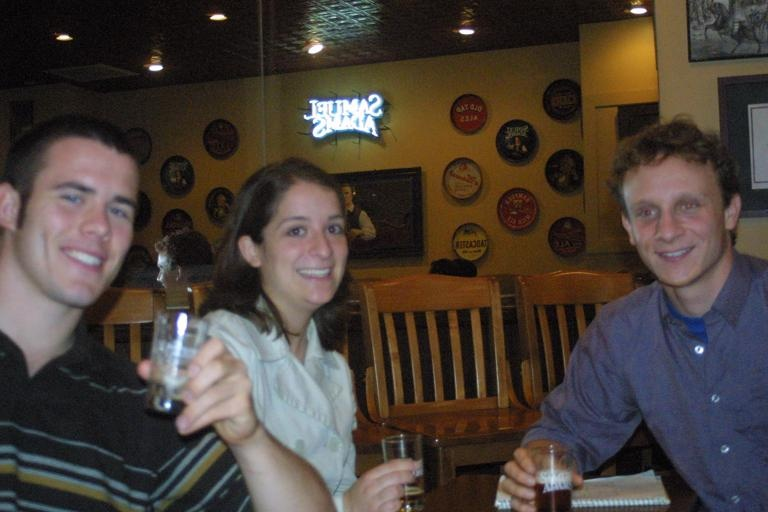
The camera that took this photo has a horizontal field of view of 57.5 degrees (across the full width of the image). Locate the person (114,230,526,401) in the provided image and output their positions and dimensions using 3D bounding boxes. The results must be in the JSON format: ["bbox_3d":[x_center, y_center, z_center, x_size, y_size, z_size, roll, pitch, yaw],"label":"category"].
[{"bbox_3d":[-0.249,0.280,3.247,1.303,0.710,0.446,1,-10,-6],"label":"person"}]

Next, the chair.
[{"bbox_3d":[-0.028,0.465,2.659,1.287,0.696,0.429,0,-7,-11],"label":"chair"}]

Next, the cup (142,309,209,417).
[{"bbox_3d":[-0.508,0.262,1.721,0.152,0.258,0.071,-3,3,-17],"label":"cup"}]
